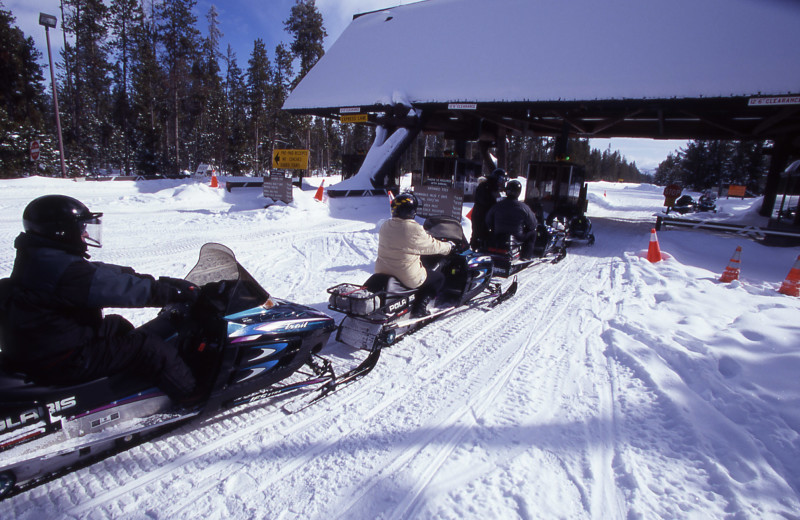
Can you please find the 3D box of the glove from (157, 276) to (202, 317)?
[{"bbox_3d":[-3.202,0.496,7.591,0.543,0.577,0.251,3,1,-22],"label":"glove"}]

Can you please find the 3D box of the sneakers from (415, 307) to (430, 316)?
[{"bbox_3d":[0.421,0.938,9.400,0.175,0.181,0.177,30,-10,-9],"label":"sneakers"}]

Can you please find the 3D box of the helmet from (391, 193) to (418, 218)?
[{"bbox_3d":[0.123,-0.952,9.203,0.445,0.365,0.417,8,4,2],"label":"helmet"}]

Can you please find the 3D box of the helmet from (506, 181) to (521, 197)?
[{"bbox_3d":[2.640,-1.652,12.135,0.346,0.383,0.453,4,12,8],"label":"helmet"}]

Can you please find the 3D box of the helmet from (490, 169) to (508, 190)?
[{"bbox_3d":[2.451,-2.000,12.726,0.378,0.498,0.496,16,48,31],"label":"helmet"}]
